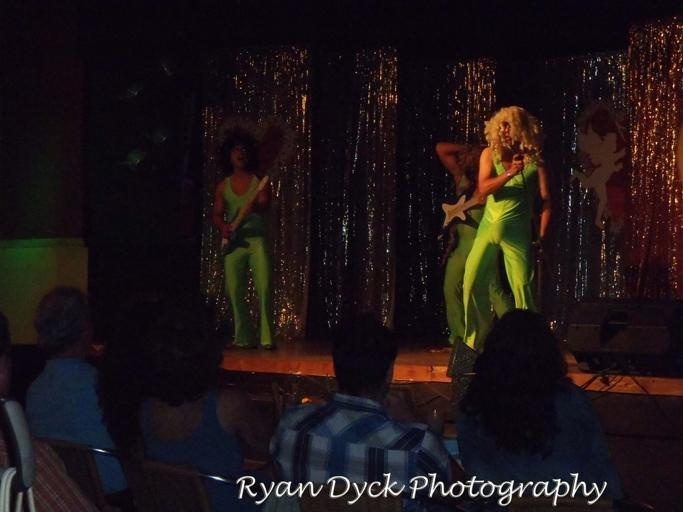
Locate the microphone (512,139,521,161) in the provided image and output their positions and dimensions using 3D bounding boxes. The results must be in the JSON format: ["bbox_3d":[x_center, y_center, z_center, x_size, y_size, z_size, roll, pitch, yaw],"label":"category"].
[{"bbox_3d":[1.285,-0.765,4.874,0.035,0.156,0.099,-2,3,38],"label":"microphone"}]

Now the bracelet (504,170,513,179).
[{"bbox_3d":[1.193,-0.592,4.802,0.064,0.051,0.039,2,1,24],"label":"bracelet"}]

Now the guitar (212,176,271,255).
[{"bbox_3d":[-0.933,-0.373,6.115,0.485,0.565,0.294,2,1,20],"label":"guitar"}]
